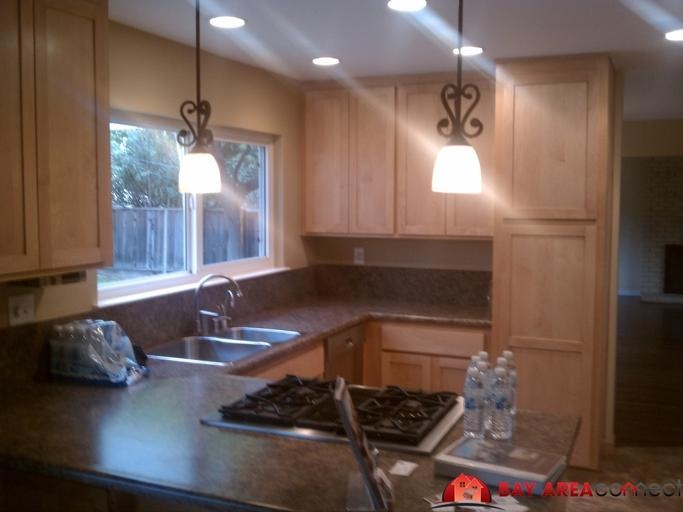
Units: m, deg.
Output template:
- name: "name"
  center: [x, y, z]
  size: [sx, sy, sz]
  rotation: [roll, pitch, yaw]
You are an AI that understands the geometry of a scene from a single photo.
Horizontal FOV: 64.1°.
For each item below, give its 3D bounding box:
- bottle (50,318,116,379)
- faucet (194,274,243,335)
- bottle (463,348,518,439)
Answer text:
- name: "bottle"
  center: [-1.174, 0.358, 2.461]
  size: [0.219, 0.228, 0.320]
  rotation: [1, 0, -14]
- name: "faucet"
  center: [-0.775, 0.272, 3.376]
  size: [0.255, 0.379, 0.460]
  rotation: [-1, 6, -12]
- name: "bottle"
  center: [0.530, 0.478, 1.934]
  size: [0.203, 0.304, 0.177]
  rotation: [1, 6, 1]
